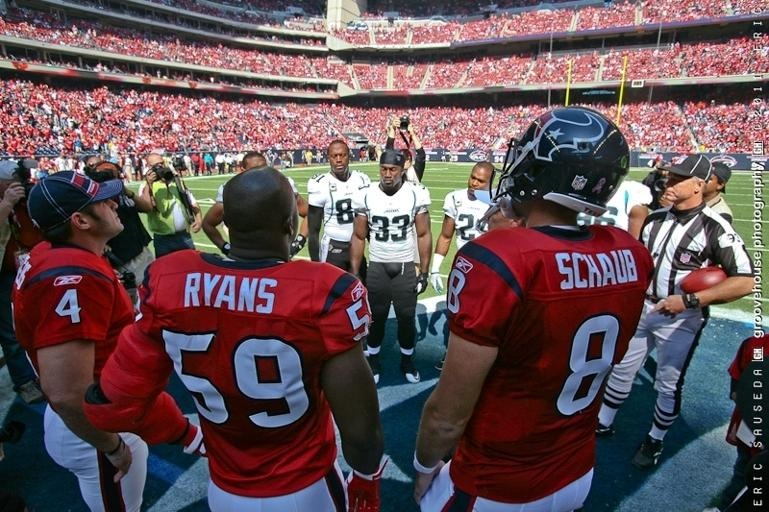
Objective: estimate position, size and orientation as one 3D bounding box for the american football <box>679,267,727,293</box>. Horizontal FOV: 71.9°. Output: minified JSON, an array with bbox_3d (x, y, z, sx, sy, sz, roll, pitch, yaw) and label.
[{"bbox_3d":[2.891,0.192,4.829,0.299,0.182,0.232,-15,25,-12],"label":"american football"}]

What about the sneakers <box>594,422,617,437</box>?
[{"bbox_3d":[2.213,1.780,5.420,0.171,0.207,0.484,-5,-14,14],"label":"sneakers"}]

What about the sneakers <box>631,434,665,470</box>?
[{"bbox_3d":[2.520,1.896,5.131,0.165,0.199,0.463,10,28,42],"label":"sneakers"}]

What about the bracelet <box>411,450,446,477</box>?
[{"bbox_3d":[0.288,1.422,3.552,0.171,0.097,0.230,6,-24,29],"label":"bracelet"}]

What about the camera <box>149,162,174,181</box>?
[{"bbox_3d":[-3.088,-1.222,7.371,0.274,0.136,0.290,26,10,-42],"label":"camera"}]

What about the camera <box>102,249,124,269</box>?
[{"bbox_3d":[-2.886,0.021,5.640,0.157,0.161,0.581,-11,-1,-30],"label":"camera"}]

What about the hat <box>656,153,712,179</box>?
[{"bbox_3d":[2.915,-0.894,5.085,0.314,0.178,0.228,8,14,20],"label":"hat"}]

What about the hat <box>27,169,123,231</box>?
[{"bbox_3d":[-2.401,-0.519,4.147,0.659,0.350,0.419,-29,37,-23],"label":"hat"}]

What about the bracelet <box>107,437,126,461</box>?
[{"bbox_3d":[-1.949,1.423,3.867,0.126,0.167,0.095,2,-15,-22],"label":"bracelet"}]
